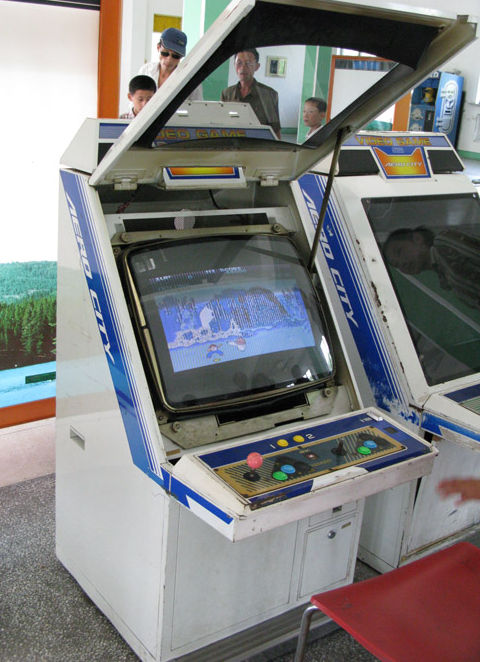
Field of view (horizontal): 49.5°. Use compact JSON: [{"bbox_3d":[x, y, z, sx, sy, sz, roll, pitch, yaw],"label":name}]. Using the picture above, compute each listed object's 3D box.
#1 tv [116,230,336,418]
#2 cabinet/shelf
[{"bbox_3d":[-0.049,-0.024,1.485,0.582,0.512,0.130,-8,-17,-31],"label":"tv"},{"bbox_3d":[2.901,-3.070,7.195,0.549,0.878,0.489,16,39,30],"label":"cabinet/shelf"}]
